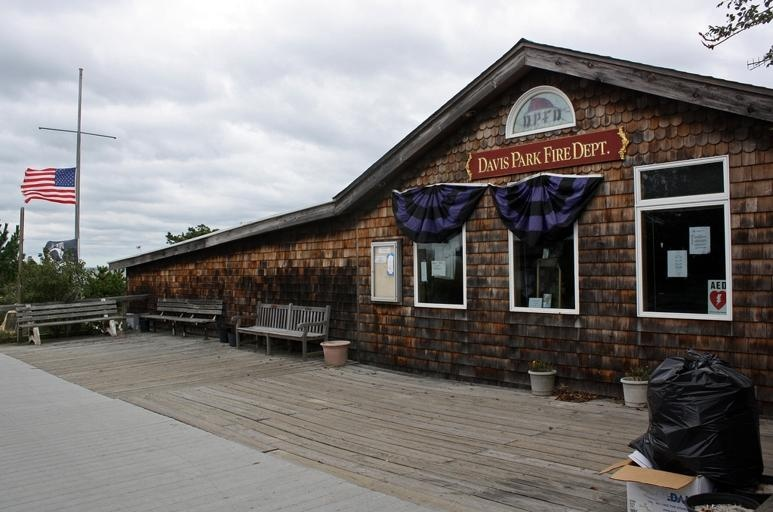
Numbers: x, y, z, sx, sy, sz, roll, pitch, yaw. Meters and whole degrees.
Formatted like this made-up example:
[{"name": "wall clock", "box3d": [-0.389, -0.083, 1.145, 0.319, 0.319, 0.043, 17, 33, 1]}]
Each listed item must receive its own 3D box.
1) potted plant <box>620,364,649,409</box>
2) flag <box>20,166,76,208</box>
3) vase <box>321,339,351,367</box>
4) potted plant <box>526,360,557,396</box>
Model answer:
[{"name": "potted plant", "box3d": [3.713, 1.942, 8.943, 0.553, 0.577, 0.537, 2, -3, -40]}, {"name": "flag", "box3d": [-11.311, -2.375, 19.751, 1.583, 1.133, 1.268, -5, 8, -30]}, {"name": "vase", "box3d": [-1.023, 1.959, 11.999, 0.505, 0.358, 0.508, -3, -2, 15]}, {"name": "potted plant", "box3d": [2.527, 1.961, 9.507, 0.478, 0.534, 0.478, -4, -7, 36]}]
